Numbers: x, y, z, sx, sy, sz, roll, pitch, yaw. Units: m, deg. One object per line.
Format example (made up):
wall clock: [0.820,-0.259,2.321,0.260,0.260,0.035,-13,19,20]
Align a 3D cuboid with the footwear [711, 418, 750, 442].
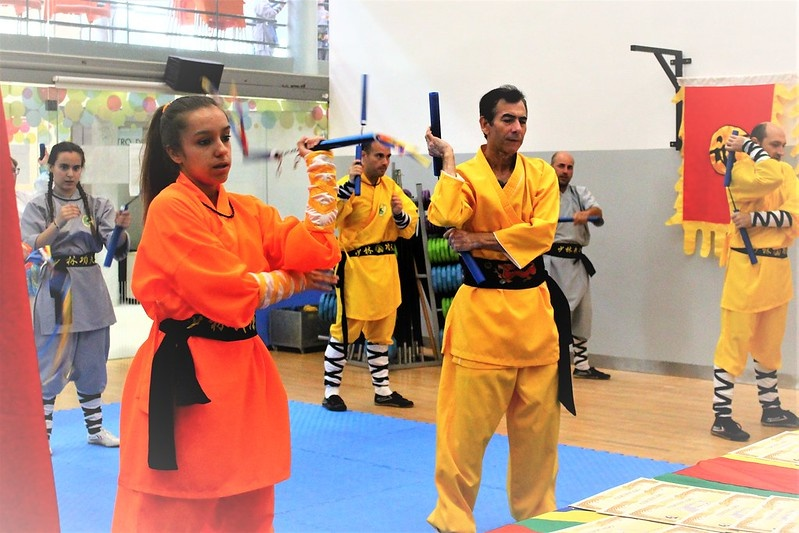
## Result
footwear: [2.276,1.096,4.997,0.102,0.185,0.284,1,-1,-44]

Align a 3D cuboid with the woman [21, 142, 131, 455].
woman: [-2.132,0.189,4.872,0.760,1.953,0.656,0,4,-13]

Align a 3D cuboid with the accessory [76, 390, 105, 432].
accessory: [-2.089,0.994,5.001,0.090,0.203,0.067,-10,-10,16]

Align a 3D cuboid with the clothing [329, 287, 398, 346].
clothing: [-0.266,0.411,5.829,0.465,0.388,0.258,4,14,-22]

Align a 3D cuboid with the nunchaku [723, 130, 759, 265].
nunchaku: [2.332,-0.468,5.132,0.118,0.969,0.129,-15,-2,-14]
